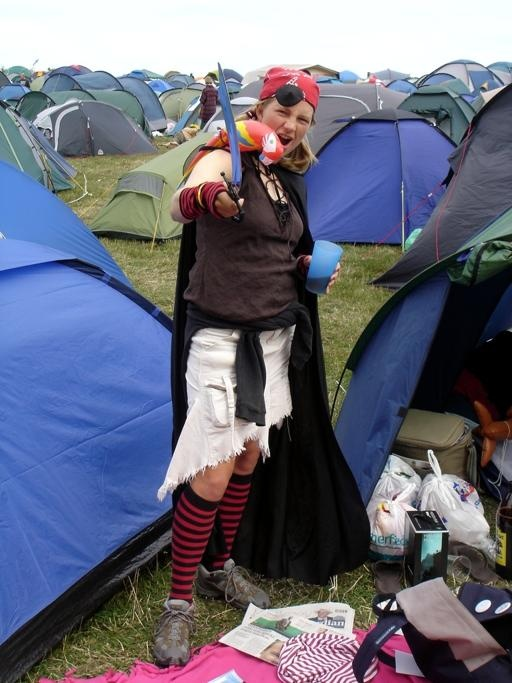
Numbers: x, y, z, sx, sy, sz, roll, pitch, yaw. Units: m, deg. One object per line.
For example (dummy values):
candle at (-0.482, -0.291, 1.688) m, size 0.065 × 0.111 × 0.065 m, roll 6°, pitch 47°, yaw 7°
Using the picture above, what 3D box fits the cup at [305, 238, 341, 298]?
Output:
cup at (0.210, -0.232, 1.724) m, size 0.106 × 0.163 × 0.175 m, roll -1°, pitch 4°, yaw 5°

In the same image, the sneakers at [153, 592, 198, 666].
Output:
sneakers at (-0.253, 0.870, 1.677) m, size 0.088 × 0.087 × 0.201 m, roll 2°, pitch 11°, yaw -4°

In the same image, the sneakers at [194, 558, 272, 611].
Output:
sneakers at (-0.085, 0.865, 1.995) m, size 0.258 × 0.116 × 0.133 m, roll 19°, pitch 16°, yaw 7°

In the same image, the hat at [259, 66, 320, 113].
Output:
hat at (0.094, -0.700, 1.508) m, size 0.149 × 0.088 × 0.146 m, roll 23°, pitch 17°, yaw 5°

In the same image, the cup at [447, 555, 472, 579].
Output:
cup at (0.804, 0.885, 2.181) m, size 0.076 × 0.084 × 0.082 m, roll 6°, pitch 12°, yaw -1°
